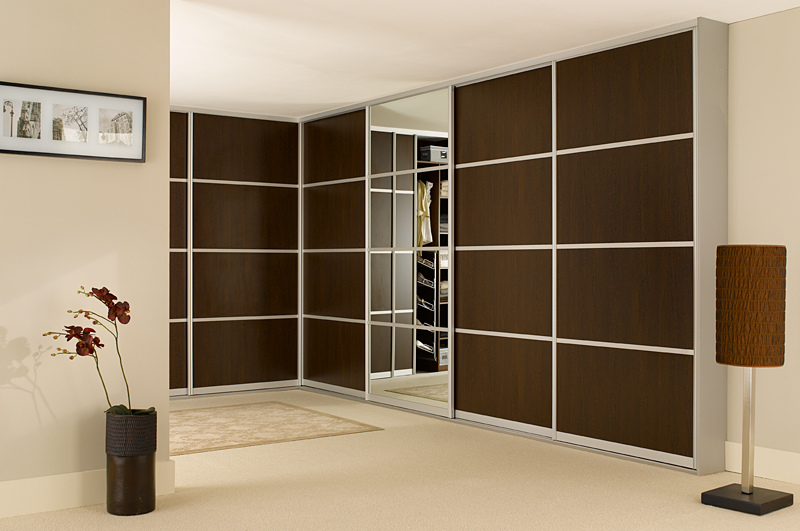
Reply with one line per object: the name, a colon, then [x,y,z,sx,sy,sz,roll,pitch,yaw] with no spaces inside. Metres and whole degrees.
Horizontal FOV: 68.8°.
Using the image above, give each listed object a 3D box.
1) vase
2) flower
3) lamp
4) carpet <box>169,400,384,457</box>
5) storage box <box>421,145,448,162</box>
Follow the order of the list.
vase: [-1.667,1.222,3.606,0.280,0.610,0.143,-1,3,-15]
flower: [-1.909,0.546,3.689,0.589,0.810,0.338,-2,4,-32]
lamp: [2.342,0.718,3.898,0.697,1.705,0.491,-2,4,-39]
carpet: [-1.375,1.528,5.802,1.753,0.114,1.647,-1,3,-24]
storage box: [0.360,-1.155,6.085,0.072,0.209,0.367,-2,4,-35]
